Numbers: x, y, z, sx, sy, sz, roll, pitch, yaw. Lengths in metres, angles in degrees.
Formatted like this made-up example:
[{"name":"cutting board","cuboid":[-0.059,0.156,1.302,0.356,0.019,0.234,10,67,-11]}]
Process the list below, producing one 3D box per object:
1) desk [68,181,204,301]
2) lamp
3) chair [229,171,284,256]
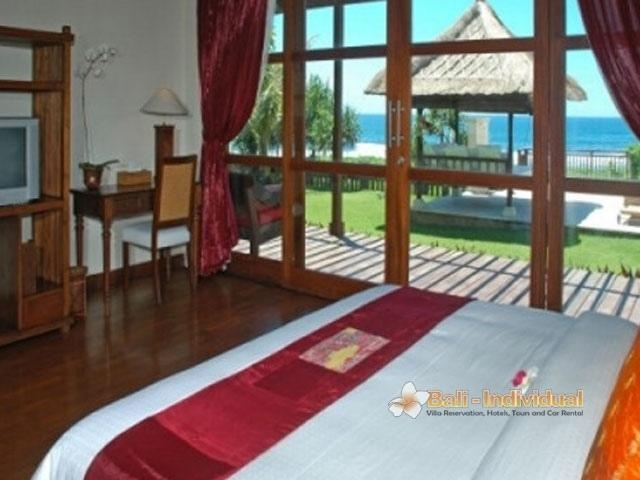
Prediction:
[{"name":"desk","cuboid":[-1.853,-0.055,4.548,0.503,0.821,0.803,7,8,23]},{"name":"lamp","cuboid":[-1.501,-1.040,4.742,0.405,0.837,0.446,9,11,26]},{"name":"chair","cuboid":[-0.619,-0.310,4.982,0.598,0.849,0.702,7,13,35]}]
